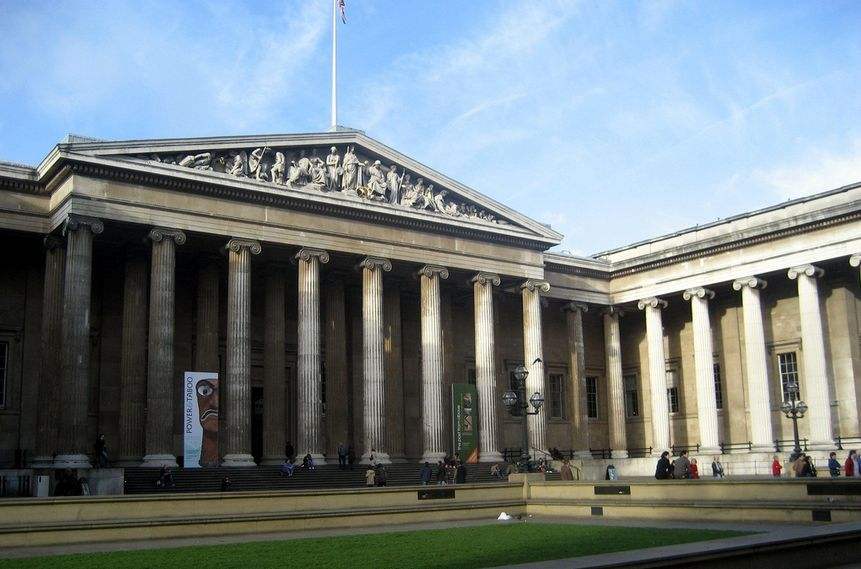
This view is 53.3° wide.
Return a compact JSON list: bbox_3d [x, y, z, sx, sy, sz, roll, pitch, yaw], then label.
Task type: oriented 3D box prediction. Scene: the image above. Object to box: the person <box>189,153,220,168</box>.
[{"bbox_3d":[-12.135,-6.693,45.741,1.611,1.008,0.265,8,-19,-34],"label":"person"}]
